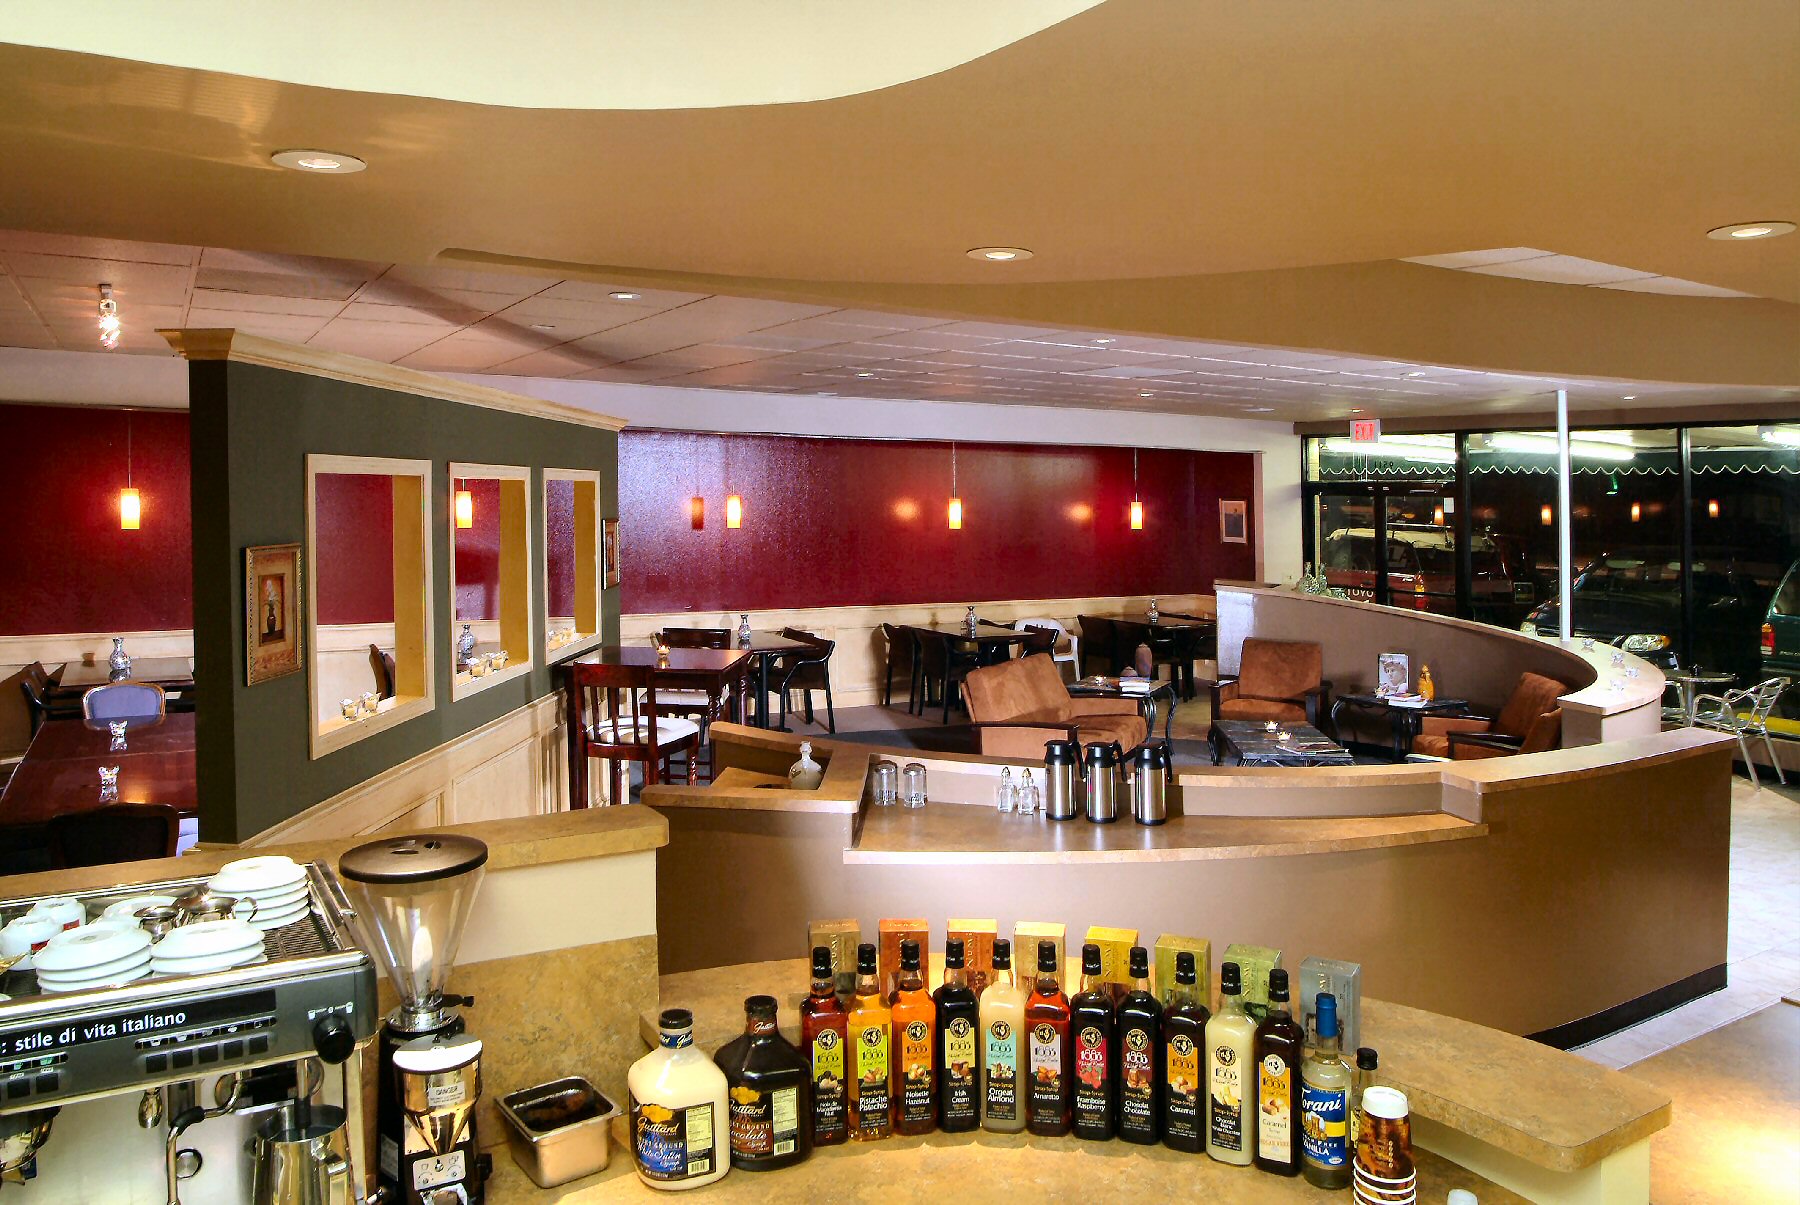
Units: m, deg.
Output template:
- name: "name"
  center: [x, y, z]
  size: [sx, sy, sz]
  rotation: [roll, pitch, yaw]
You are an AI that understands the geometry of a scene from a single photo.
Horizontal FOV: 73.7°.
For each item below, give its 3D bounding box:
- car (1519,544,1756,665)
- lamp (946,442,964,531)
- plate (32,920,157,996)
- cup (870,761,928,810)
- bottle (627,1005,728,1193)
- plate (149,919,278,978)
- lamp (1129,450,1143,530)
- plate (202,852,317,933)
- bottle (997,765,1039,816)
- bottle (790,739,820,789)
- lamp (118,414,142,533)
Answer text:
- name: "car"
  center: [6.758, 0.042, 10.694]
  size: [0.740, 0.728, 1.588]
  rotation: [-4, 11, -34]
- name: "lamp"
  center: [0.538, -1.264, 13.043]
  size: [0.204, 0.971, 0.499]
  rotation: [-3, 4, 4]
- name: "plate"
  center: [-1.531, 0.681, 2.316]
  size: [0.134, 0.039, 0.136]
  rotation: [1, 5, -1]
- name: "cup"
  center: [-0.026, 0.805, 5.365]
  size: [0.264, 0.195, 0.157]
  rotation: [-2, 4, 11]
- name: "bottle"
  center: [-0.513, 1.110, 2.712]
  size: [0.242, 0.395, 0.129]
  rotation: [-3, 4, -1]
- name: "plate"
  center: [-1.338, 0.677, 2.328]
  size: [0.195, 0.044, 0.175]
  rotation: [-6, 5, -32]
- name: "lamp"
  center: [2.719, -1.328, 14.156]
  size: [0.211, 0.973, 0.575]
  rotation: [-3, 4, 11]
- name: "plate"
  center: [-1.337, 0.607, 2.556]
  size: [0.159, 0.074, 0.155]
  rotation: [1, 1, 15]
- name: "bottle"
  center: [0.491, 0.819, 5.140]
  size: [0.182, 0.193, 0.186]
  rotation: [0, -4, -3]
- name: "bottle"
  center: [-0.386, 0.730, 5.311]
  size: [0.172, 0.225, 0.137]
  rotation: [0, -6, 9]
- name: "lamp"
  center: [-5.722, -0.980, 8.892]
  size: [0.181, 0.892, 0.498]
  rotation: [-6, 5, -32]
